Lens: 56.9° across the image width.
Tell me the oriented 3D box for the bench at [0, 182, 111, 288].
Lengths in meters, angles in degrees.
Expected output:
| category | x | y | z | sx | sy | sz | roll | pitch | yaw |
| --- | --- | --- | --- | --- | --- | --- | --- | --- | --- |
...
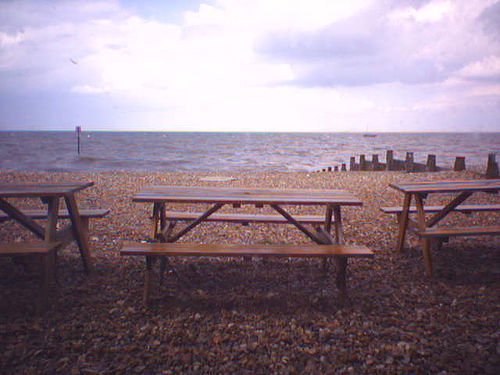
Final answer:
| category | x | y | z | sx | sy | sz | roll | pitch | yaw |
| --- | --- | --- | --- | --- | --- | --- | --- | --- | --- |
| bench | -4.432 | 0.750 | 10.308 | 2.445 | 1.657 | 2.446 | -1 | 5 | -1 |
